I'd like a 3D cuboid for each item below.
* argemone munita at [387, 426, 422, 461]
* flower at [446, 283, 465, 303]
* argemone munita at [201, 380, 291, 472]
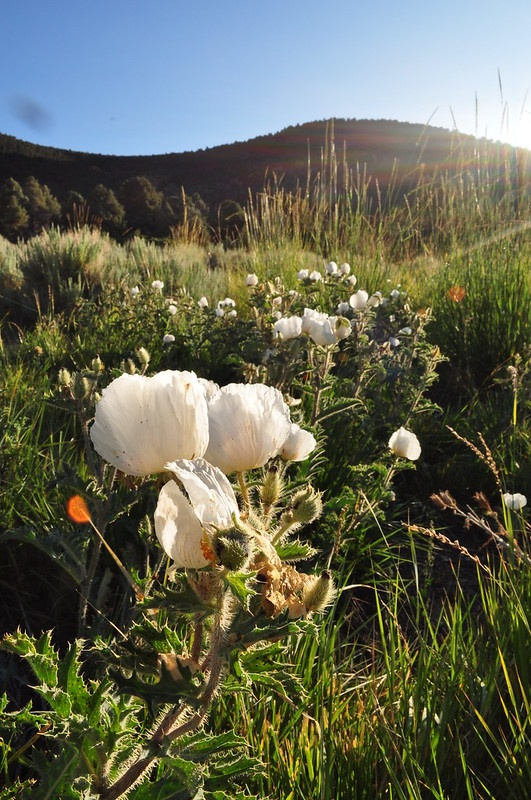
[{"bbox_3d":[0.458,0.154,1.838,0.086,0.151,0.189,3,16,18],"label":"argemone munita"},{"bbox_3d":[1.637,-0.919,4.810,0.131,0.132,0.313,2,16,13],"label":"flower"},{"bbox_3d":[-0.034,0.042,0.805,0.138,0.137,0.150,-1,-12,-6],"label":"argemone munita"}]
